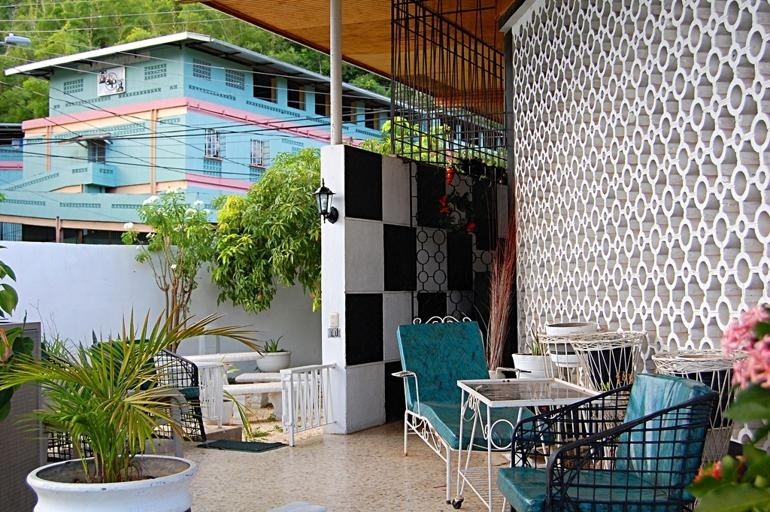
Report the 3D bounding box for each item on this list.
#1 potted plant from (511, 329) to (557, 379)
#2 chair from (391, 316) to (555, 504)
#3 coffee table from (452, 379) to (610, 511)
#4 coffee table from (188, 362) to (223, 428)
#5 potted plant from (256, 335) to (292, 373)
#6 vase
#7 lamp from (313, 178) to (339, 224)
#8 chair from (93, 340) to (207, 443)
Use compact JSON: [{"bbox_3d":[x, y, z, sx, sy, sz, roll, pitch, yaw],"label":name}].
[{"bbox_3d":[1.606,1.091,7.456,0.478,0.655,0.576,0,-9,-5],"label":"potted plant"},{"bbox_3d":[0.723,1.246,6.368,1.126,1.392,1.638,0,-2,-14],"label":"chair"},{"bbox_3d":[1.063,1.404,5.606,0.975,1.195,1.147,1,-3,-7],"label":"coffee table"},{"bbox_3d":[-2.107,1.646,8.321,0.481,0.708,0.503,-3,-3,24],"label":"coffee table"},{"bbox_3d":[-1.716,1.555,11.094,0.439,0.570,0.485,1,-6,-25],"label":"potted plant"},{"bbox_3d":[2.035,1.012,5.640,0.963,0.682,0.958,5,-8,-39],"label":"vase"},{"bbox_3d":[-0.648,-0.599,7.786,0.212,0.469,0.246,1,7,11],"label":"lamp"},{"bbox_3d":[-2.083,1.332,7.096,0.631,1.015,0.594,-3,-2,-15],"label":"chair"}]
